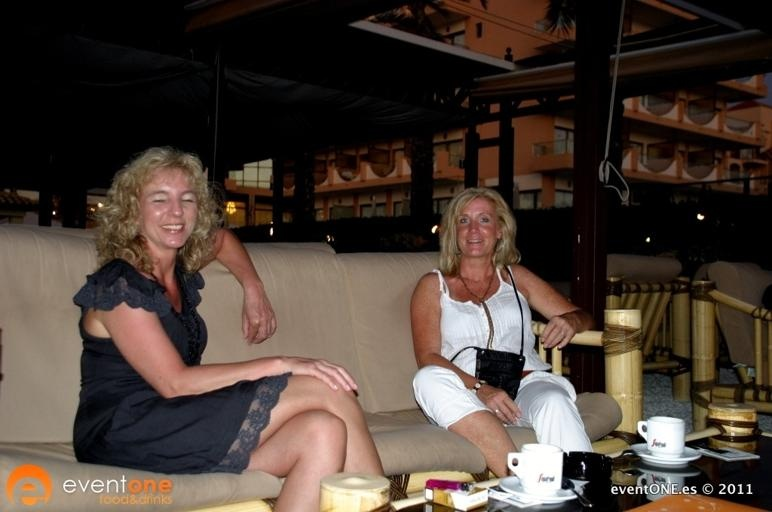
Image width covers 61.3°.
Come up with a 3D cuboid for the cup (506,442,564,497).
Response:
[{"bbox_3d":[0.608,0.878,2.681,0.208,0.160,0.158,-1,2,0],"label":"cup"}]

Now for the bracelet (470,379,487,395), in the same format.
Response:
[{"bbox_3d":[0.498,0.709,3.513,0.066,0.025,0.054,-36,-19,-34],"label":"bracelet"}]

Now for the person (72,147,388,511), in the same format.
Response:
[{"bbox_3d":[-0.787,0.274,2.987,1.283,1.636,0.757,1,2,33],"label":"person"}]

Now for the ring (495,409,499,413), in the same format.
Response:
[{"bbox_3d":[0.577,0.817,3.410,0.017,0.017,0.004,-23,-13,34],"label":"ring"}]
